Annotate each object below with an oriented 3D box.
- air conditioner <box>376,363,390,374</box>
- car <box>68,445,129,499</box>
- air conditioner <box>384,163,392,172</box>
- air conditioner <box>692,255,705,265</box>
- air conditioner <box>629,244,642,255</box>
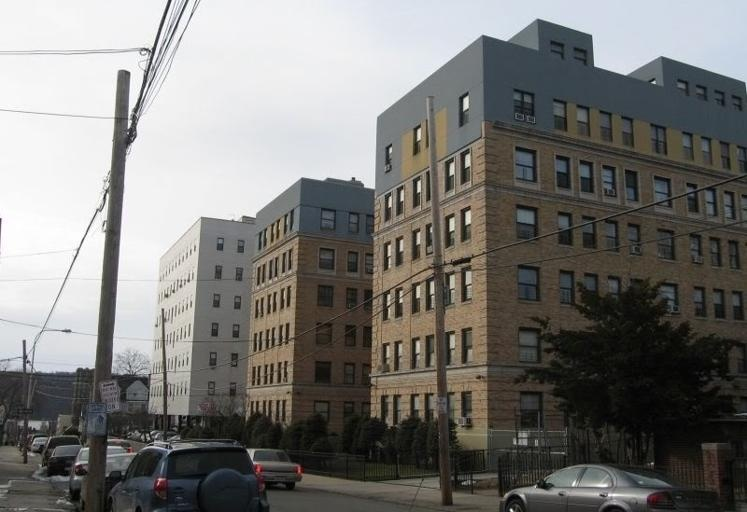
[{"bbox_3d":[0.719,7.797,57.091,0.611,0.717,1.078,8,-20,-17],"label":"air conditioner"},{"bbox_3d":[-12.306,9.472,36.924,2.311,1.927,5.393,1,-10,-9],"label":"car"},{"bbox_3d":[1.095,-6.290,58.692,0.200,0.549,0.599,6,-13,-22],"label":"air conditioner"},{"bbox_3d":[21.527,0.267,54.391,0.963,0.611,0.514,9,-9,-44],"label":"air conditioner"},{"bbox_3d":[16.412,-0.416,51.585,0.581,0.499,0.318,6,-14,-30],"label":"air conditioner"}]
